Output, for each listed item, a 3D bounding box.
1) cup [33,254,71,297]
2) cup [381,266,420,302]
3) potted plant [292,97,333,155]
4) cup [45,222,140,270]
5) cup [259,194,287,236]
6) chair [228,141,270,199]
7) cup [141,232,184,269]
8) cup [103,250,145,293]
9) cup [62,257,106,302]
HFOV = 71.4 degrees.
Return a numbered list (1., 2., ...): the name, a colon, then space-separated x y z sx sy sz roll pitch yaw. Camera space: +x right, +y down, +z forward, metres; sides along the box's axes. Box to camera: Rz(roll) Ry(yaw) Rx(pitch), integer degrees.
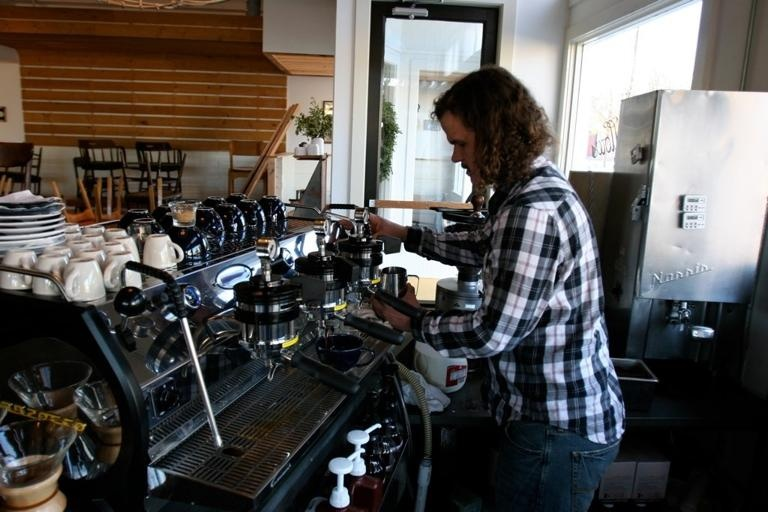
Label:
1. cup: -0.869 0.057 1.428 0.122 0.109 0.078 22 20 40
2. cup: 0.059 0.090 2.001 0.125 0.089 0.075 5 2 7
3. potted plant: -0.964 -1.661 6.519 0.422 0.404 0.391 7 17 -43
4. cup: -0.868 -0.046 1.640 0.148 0.088 0.222 -1 9 -14
5. cup: -0.476 -0.178 2.317 0.153 0.183 0.165 -1 7 0
6. chair: -2.008 -1.279 7.866 0.694 0.851 0.699 4 11 19
7. cup: -0.696 -0.019 1.700 0.092 0.104 0.136 5 13 16
8. cup: -0.740 0.043 1.560 0.088 0.117 0.141 7 20 -3
9. cup: -0.806 0.070 1.426 0.086 0.110 0.133 2 19 -3
